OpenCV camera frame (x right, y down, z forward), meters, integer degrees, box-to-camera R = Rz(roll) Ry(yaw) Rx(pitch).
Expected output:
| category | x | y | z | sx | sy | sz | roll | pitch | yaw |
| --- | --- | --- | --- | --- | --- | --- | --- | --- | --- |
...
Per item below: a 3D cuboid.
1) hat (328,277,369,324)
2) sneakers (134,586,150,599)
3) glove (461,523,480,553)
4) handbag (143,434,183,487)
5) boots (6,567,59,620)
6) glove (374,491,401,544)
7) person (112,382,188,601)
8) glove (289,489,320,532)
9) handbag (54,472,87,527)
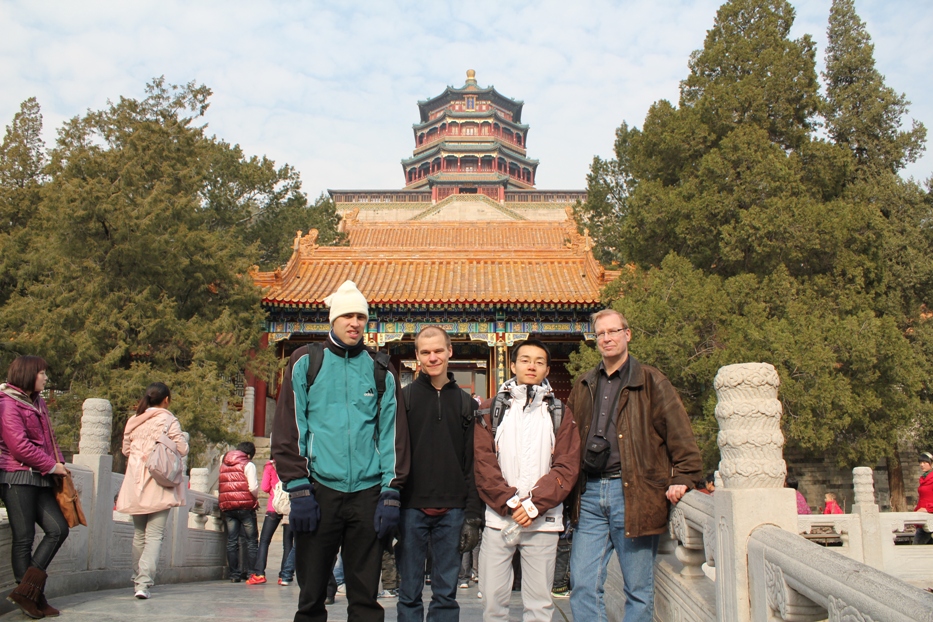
| category | x | y | z | sx | sy | sz | roll | pitch | yaw |
| --- | --- | --- | --- | --- | --- | --- | --- | --- | --- |
| hat | -1.185 | -0.104 | 10.086 | 0.357 | 0.394 | 0.473 | 11 | -19 | -40 |
| sneakers | -3.887 | 3.372 | 11.995 | 0.189 | 0.142 | 0.261 | 4 | -13 | -17 |
| glove | 0.068 | 2.255 | 9.994 | 0.134 | 0.257 | 0.277 | -8 | -15 | 32 |
| handbag | -3.742 | 1.836 | 12.247 | 0.301 | 0.669 | 0.594 | -19 | -14 | 35 |
| boots | -4.680 | 3.050 | 10.842 | 0.493 | 0.538 | 0.258 | 4 | -13 | -16 |
| glove | -0.756 | 1.989 | 9.675 | 0.326 | 0.438 | 0.160 | 9 | -8 | -18 |
| person | -3.915 | 2.188 | 12.326 | 0.782 | 2.598 | 0.551 | 1 | -12 | -1 |
| glove | -1.564 | 1.918 | 9.630 | 0.295 | 0.403 | 0.135 | 0 | -12 | 0 |
| handbag | -4.419 | 2.094 | 11.130 | 0.167 | 0.499 | 0.441 | -8 | 4 | -24 |
